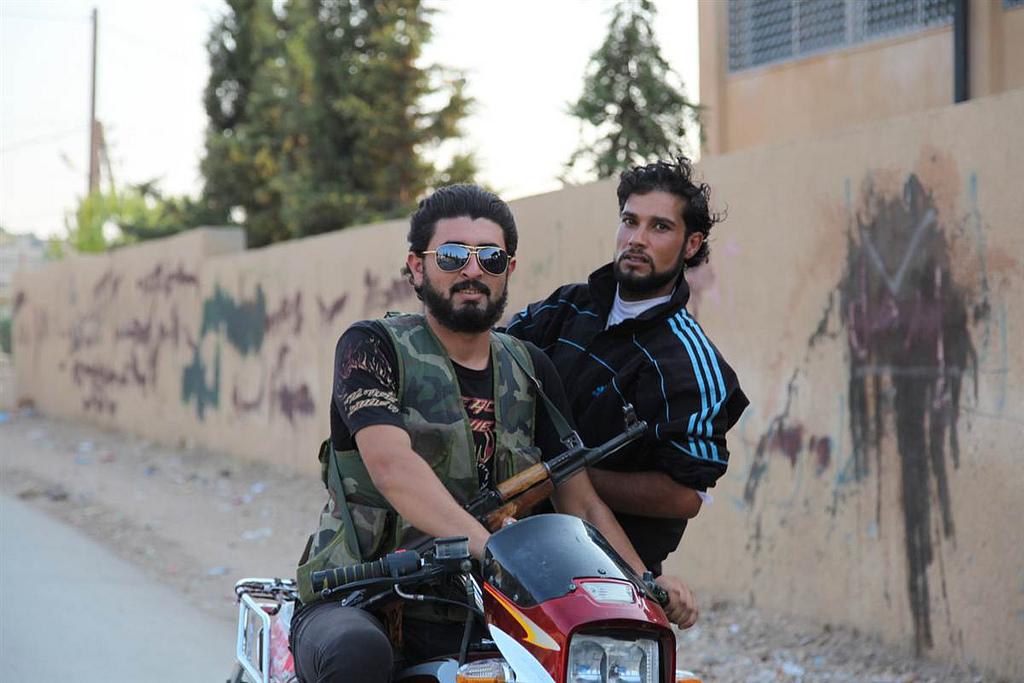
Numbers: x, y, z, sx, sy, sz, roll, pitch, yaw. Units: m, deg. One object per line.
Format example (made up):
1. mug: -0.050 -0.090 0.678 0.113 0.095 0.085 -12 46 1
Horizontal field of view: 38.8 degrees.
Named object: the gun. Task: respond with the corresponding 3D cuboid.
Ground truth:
1. gun: -0.156 0.833 7.136 1.382 0.554 0.163 -33 9 -26
